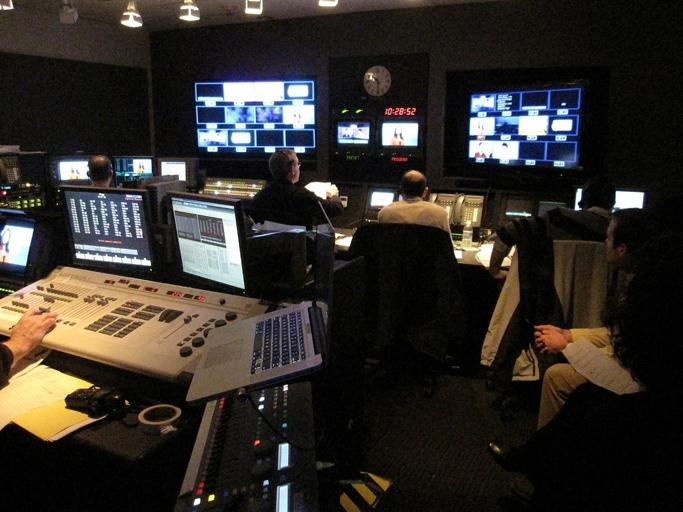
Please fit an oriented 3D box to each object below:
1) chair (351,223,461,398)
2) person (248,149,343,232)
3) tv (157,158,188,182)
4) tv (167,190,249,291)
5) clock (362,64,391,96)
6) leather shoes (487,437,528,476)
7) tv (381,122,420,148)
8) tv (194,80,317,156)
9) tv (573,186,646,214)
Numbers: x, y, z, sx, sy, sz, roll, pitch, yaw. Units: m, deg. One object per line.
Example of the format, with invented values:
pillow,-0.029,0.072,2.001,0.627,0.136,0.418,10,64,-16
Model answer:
chair,0.375,0.300,3.197,0.655,1.100,0.518,1,17,2
person,-0.384,-0.518,4.176,0.771,0.627,0.453,10,15,33
tv,-1.862,-0.959,5.764,0.318,0.221,0.150,11,20,31
tv,-0.624,-0.059,2.408,0.433,0.318,0.057,17,25,37
clock,0.361,-1.817,5.378,0.338,0.332,0.029,4,13,23
leather shoes,0.799,0.909,2.473,0.139,0.102,0.348,37,-12,5
tv,0.580,-1.228,5.269,0.386,0.241,0.056,8,18,23
tv,-0.957,-1.528,5.854,1.460,0.818,0.020,-9,18,-29
tv,1.838,-0.395,3.654,0.460,0.241,0.309,7,6,7
